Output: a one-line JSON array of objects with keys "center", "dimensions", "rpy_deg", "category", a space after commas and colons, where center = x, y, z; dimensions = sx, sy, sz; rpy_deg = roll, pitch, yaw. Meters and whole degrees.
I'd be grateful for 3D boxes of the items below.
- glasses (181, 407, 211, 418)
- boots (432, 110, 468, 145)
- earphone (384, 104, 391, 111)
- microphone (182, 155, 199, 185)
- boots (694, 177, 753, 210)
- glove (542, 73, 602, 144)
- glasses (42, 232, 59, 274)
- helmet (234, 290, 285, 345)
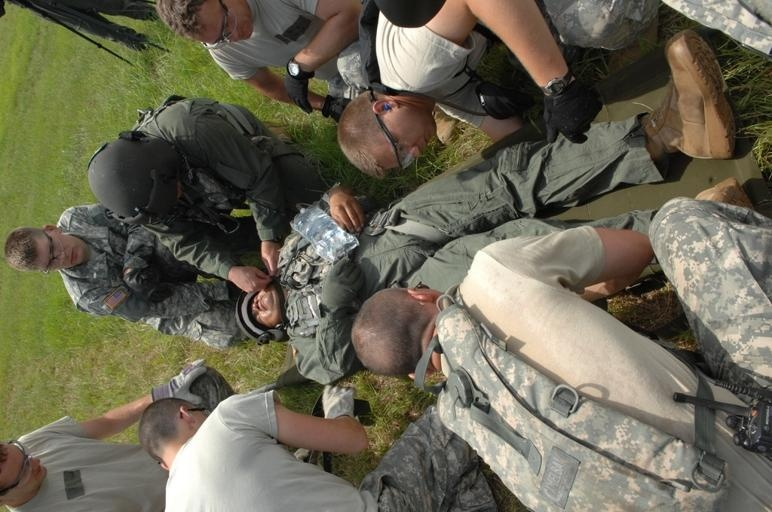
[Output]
[{"center": [-1.429, 1.173, 4.440], "dimensions": [0.128, 0.132, 0.042], "rpy_deg": [4, 86, 7], "category": "glasses"}, {"center": [0.507, -1.082, 4.936], "dimensions": [0.190, 0.231, 0.208], "rpy_deg": [45, 49, -16], "category": "boots"}, {"center": [0.008, -1.011, 3.981], "dimensions": [0.046, 0.018, 0.038], "rpy_deg": [-24, 70, 4], "category": "earphone"}, {"center": [-1.593, -0.710, 4.769], "dimensions": [0.059, 0.184, 0.131], "rpy_deg": [-20, 43, -8], "category": "microphone"}, {"center": [2.198, -0.408, 3.838], "dimensions": [0.356, 0.165, 0.210], "rpy_deg": [-4, 63, -3], "category": "boots"}, {"center": [1.103, -0.885, 3.572], "dimensions": [0.331, 0.441, 0.122], "rpy_deg": [-21, 35, 10], "category": "glove"}, {"center": [-2.926, -0.067, 5.217], "dimensions": [0.110, 0.237, 0.255], "rpy_deg": [-6, 56, -44], "category": "glasses"}, {"center": [-1.171, 0.573, 5.305], "dimensions": [0.531, 0.324, 0.282], "rpy_deg": [42, 70, 18], "category": "helmet"}]
